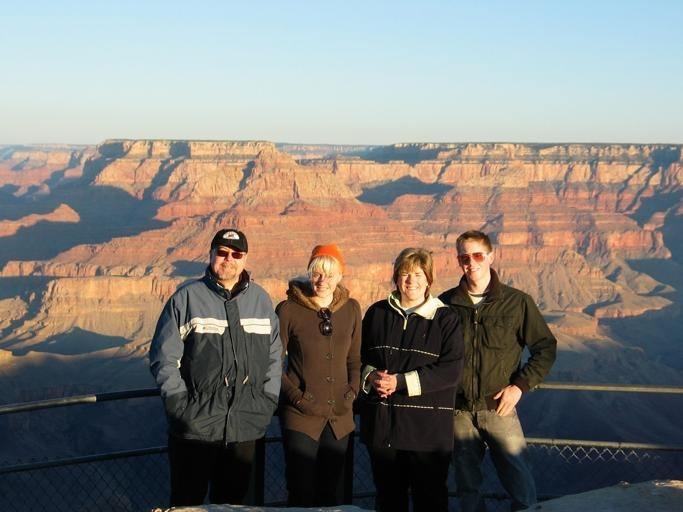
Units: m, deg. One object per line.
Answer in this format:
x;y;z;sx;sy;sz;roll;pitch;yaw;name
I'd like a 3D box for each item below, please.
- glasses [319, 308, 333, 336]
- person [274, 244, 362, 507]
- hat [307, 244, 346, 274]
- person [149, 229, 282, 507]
-0.143;0.579;6.744;0.122;0.216;0.088;0;-3;-5;glasses
-0.206;1.053;6.727;0.779;2.290;0.510;2;6;-8;person
-0.143;0.021;6.843;0.263;0.169;0.253;1;6;-17;hat
-1.079;0.968;6.515;1.095;2.380;0.413;2;7;-10;person
